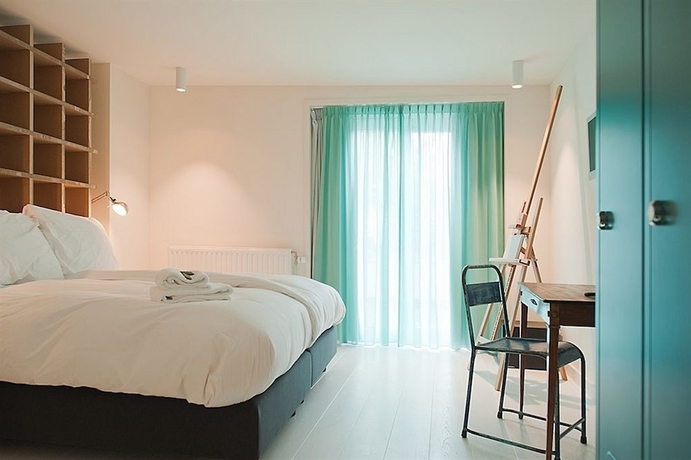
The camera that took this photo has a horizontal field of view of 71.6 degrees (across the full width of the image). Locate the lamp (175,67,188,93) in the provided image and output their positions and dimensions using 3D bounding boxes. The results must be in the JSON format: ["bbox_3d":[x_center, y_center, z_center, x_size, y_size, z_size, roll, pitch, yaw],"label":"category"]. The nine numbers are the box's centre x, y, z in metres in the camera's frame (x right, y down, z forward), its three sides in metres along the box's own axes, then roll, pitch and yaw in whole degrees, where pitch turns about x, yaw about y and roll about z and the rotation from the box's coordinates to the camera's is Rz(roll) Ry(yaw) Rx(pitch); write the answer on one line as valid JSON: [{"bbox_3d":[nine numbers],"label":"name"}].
[{"bbox_3d":[-1.720,-1.580,5.011,0.093,0.239,0.379,-2,12,-16],"label":"lamp"}]

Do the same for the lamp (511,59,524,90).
[{"bbox_3d":[1.696,-1.554,4.765,0.119,0.245,0.203,5,12,17],"label":"lamp"}]

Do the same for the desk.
[{"bbox_3d":[1.354,0.898,3.203,0.457,1.052,0.825,6,12,21],"label":"desk"}]
